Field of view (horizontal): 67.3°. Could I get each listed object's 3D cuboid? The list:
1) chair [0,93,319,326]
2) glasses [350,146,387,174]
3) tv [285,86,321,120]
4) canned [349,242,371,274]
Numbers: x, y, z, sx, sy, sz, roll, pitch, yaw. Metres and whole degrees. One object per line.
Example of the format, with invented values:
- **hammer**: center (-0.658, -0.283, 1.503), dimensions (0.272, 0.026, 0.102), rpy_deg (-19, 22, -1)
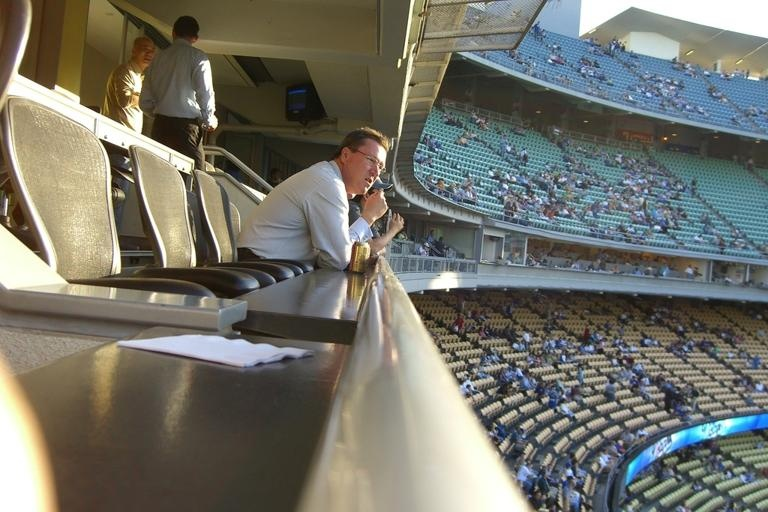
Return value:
- **chair**: center (-0.584, -0.095, 1.698), dimensions (0.584, 0.725, 0.566), rpy_deg (-4, -4, 10)
- **glasses**: center (-0.066, -0.488, 2.936), dimensions (0.124, 0.035, 0.124), rpy_deg (26, 12, -45)
- **tv**: center (-1.119, -2.142, 8.042), dimensions (0.524, 0.467, 0.247), rpy_deg (-6, -11, 30)
- **canned**: center (-0.120, 0.001, 2.720), dimensions (0.093, 0.132, 0.157), rpy_deg (6, 6, 8)
